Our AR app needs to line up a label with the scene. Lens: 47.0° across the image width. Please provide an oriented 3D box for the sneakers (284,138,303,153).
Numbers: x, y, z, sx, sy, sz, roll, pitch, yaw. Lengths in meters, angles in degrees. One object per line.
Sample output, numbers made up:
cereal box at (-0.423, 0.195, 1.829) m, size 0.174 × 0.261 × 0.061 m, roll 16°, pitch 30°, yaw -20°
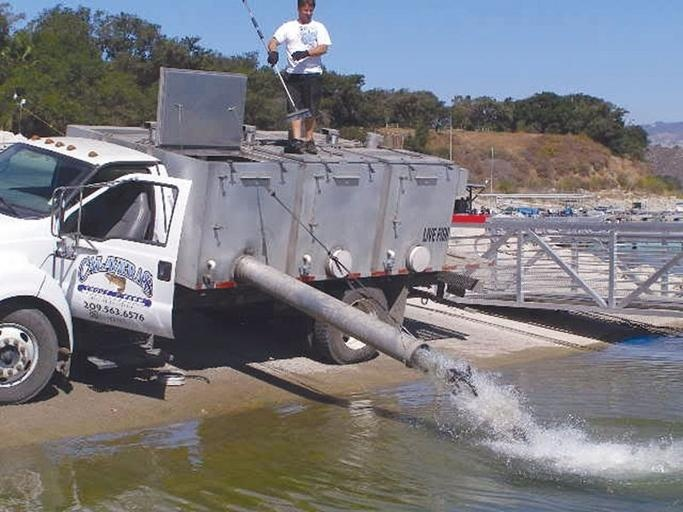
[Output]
sneakers at (-0.745, -1.630, 11.843) m, size 0.149 × 0.177 × 0.405 m, roll 0°, pitch 0°, yaw -16°
